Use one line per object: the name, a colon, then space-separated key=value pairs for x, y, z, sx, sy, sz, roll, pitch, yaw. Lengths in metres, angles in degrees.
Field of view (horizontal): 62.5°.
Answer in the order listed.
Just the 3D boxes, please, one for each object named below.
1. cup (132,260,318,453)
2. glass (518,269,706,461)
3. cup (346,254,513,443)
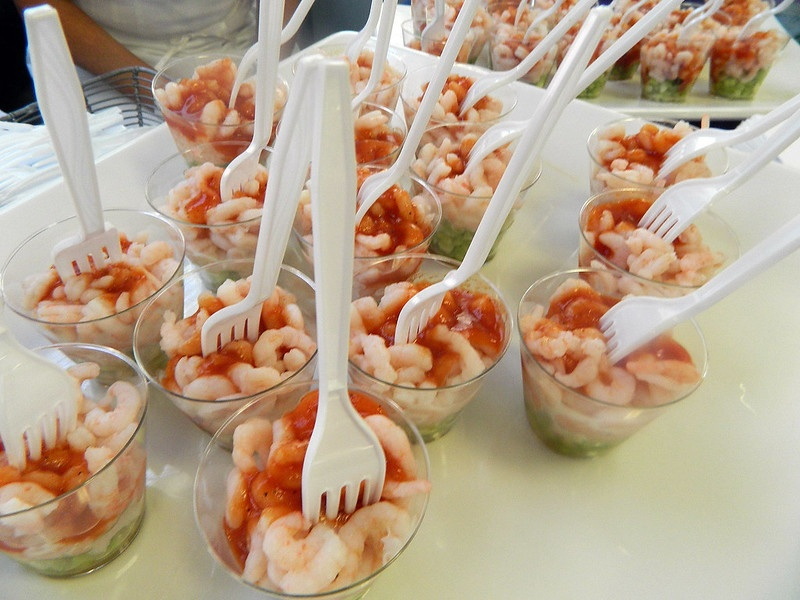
cup: x=-0.442 y=0.131 z=1.803 sx=0.436 sy=0.252 sz=0.486 roll=5 pitch=48 yaw=5
glass: x=0.497 y=0.230 z=1.751 sx=0.387 sy=0.298 sz=0.398 roll=33 pitch=44 yaw=30
cup: x=0.062 y=0.121 z=1.891 sx=0.432 sy=0.365 sz=0.501 roll=8 pitch=52 yaw=-3
